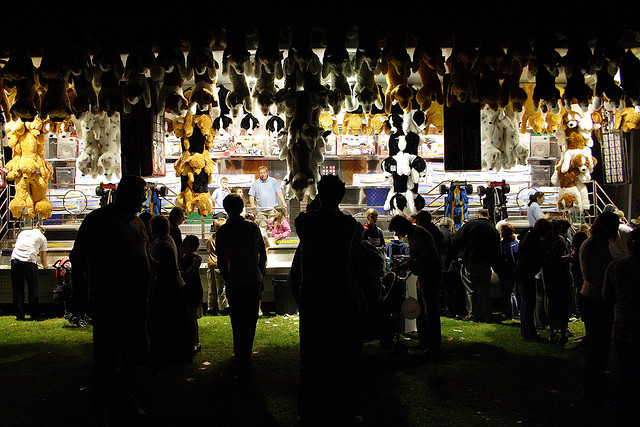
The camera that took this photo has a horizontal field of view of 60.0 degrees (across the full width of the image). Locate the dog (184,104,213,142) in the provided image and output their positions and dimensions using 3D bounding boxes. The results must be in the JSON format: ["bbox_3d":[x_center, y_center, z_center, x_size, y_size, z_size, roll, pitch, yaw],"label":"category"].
[{"bbox_3d":[-1.474,-1.070,6.704,0.240,0.340,0.237,0,-26,-25],"label":"dog"}]

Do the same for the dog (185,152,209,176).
[{"bbox_3d":[-1.506,-0.617,6.783,0.261,0.253,0.121,-1,5,-10],"label":"dog"}]

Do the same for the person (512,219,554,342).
[{"bbox_3d":[2.998,0.920,7.826,0.482,1.710,0.425,1,6,21],"label":"person"}]

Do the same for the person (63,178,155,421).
[{"bbox_3d":[-2.000,0.859,5.334,0.704,2.382,0.395,-3,6,-23],"label":"person"}]

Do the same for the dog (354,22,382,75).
[{"bbox_3d":[0.501,-1.755,5.831,0.192,0.551,0.342,0,-1,3],"label":"dog"}]

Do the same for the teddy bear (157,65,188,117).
[{"bbox_3d":[-1.630,-1.314,6.120,0.246,0.569,0.263,3,-20,-12],"label":"teddy bear"}]

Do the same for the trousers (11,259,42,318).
[{"bbox_3d":[-4.929,1.246,9.270,0.391,1.001,0.276,-3,6,-29],"label":"trousers"}]

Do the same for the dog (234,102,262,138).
[{"bbox_3d":[-0.863,-1.099,6.663,0.241,0.321,0.668,-2,27,-14],"label":"dog"}]

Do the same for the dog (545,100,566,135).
[{"bbox_3d":[2.940,-1.191,6.978,0.271,0.472,0.247,4,7,16],"label":"dog"}]

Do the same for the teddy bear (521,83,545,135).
[{"bbox_3d":[2.497,-1.248,6.496,0.222,0.601,0.340,-1,-1,9],"label":"teddy bear"}]

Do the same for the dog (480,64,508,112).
[{"bbox_3d":[1.901,-1.384,6.062,0.289,0.462,0.228,1,5,15],"label":"dog"}]

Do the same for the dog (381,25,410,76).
[{"bbox_3d":[0.787,-1.695,5.828,0.239,0.532,0.245,0,18,0],"label":"dog"}]

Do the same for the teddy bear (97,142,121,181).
[{"bbox_3d":[-2.552,-0.634,6.809,0.346,0.454,0.164,1,5,16],"label":"teddy bear"}]

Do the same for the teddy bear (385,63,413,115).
[{"bbox_3d":[0.867,-1.415,6.239,0.203,0.600,0.297,-4,-27,-1],"label":"teddy bear"}]

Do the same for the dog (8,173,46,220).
[{"bbox_3d":[-4.004,-0.246,7.560,0.428,0.601,0.231,-1,5,-1],"label":"dog"}]

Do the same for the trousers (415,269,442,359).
[{"bbox_3d":[1.388,1.164,7.041,0.298,0.877,0.403,3,5,2],"label":"trousers"}]

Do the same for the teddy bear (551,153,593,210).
[{"bbox_3d":[3.950,-0.513,8.619,0.720,0.967,0.720,4,-5,10],"label":"teddy bear"}]

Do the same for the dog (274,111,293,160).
[{"bbox_3d":[-0.435,-0.862,6.341,0.204,0.383,0.295,-10,19,-34],"label":"dog"}]

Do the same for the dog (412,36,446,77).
[{"bbox_3d":[1.154,-1.680,5.939,0.337,0.365,0.288,1,5,14],"label":"dog"}]

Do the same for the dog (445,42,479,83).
[{"bbox_3d":[1.556,-1.599,5.906,0.282,0.399,0.219,0,5,4],"label":"dog"}]

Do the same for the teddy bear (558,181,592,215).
[{"bbox_3d":[4.181,-0.248,9.078,0.489,0.765,0.604,-1,0,5],"label":"teddy bear"}]

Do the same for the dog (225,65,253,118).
[{"bbox_3d":[-0.910,-1.338,6.250,0.209,0.619,0.346,-3,-3,-2],"label":"dog"}]

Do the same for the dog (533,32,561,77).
[{"bbox_3d":[2.342,-1.676,5.814,0.184,0.499,0.220,-15,10,20],"label":"dog"}]

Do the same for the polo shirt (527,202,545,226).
[{"bbox_3d":[3.796,0.008,9.765,0.267,0.404,0.499,-4,1,3],"label":"polo shirt"}]

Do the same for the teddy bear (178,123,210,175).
[{"bbox_3d":[-1.534,-0.830,6.894,0.461,0.592,0.440,-4,20,-29],"label":"teddy bear"}]

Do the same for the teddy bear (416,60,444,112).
[{"bbox_3d":[1.204,-1.404,6.133,0.303,0.525,0.229,-11,5,6],"label":"teddy bear"}]

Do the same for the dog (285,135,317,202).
[{"bbox_3d":[-0.146,-0.468,6.282,0.280,0.784,0.427,0,-9,3],"label":"dog"}]

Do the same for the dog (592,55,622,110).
[{"bbox_3d":[2.978,-1.326,5.864,0.206,0.637,0.370,0,33,11],"label":"dog"}]

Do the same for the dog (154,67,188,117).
[{"bbox_3d":[-1.639,-1.314,6.089,0.271,0.544,0.249,2,-7,-11],"label":"dog"}]

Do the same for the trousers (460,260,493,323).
[{"bbox_3d":[2.465,1.225,8.822,0.510,0.984,0.365,2,6,29],"label":"trousers"}]

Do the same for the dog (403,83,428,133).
[{"bbox_3d":[1.145,-1.196,6.674,0.240,0.661,0.335,-4,26,7],"label":"dog"}]

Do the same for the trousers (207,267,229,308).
[{"bbox_3d":[-1.763,1.242,9.406,0.335,0.727,0.441,-1,5,-5],"label":"trousers"}]

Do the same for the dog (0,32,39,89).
[{"bbox_3d":[-3.170,-1.614,5.881,0.420,0.548,0.318,-2,5,-14],"label":"dog"}]

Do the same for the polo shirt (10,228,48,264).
[{"bbox_3d":[-4.868,0.550,9.249,0.517,0.574,0.287,-3,6,-28],"label":"polo shirt"}]
